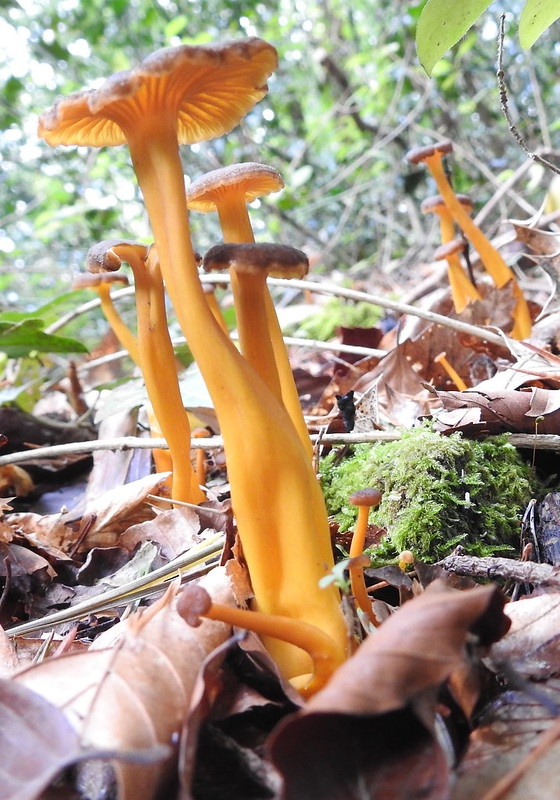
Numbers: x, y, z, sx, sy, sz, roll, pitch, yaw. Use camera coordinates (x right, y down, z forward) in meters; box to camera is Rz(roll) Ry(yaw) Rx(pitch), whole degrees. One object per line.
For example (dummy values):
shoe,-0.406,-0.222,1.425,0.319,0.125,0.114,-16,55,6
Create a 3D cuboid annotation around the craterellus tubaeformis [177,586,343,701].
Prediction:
craterellus tubaeformis,-0.037,0.341,1.082,0.199,0.148,0.144,-18,7,-21
